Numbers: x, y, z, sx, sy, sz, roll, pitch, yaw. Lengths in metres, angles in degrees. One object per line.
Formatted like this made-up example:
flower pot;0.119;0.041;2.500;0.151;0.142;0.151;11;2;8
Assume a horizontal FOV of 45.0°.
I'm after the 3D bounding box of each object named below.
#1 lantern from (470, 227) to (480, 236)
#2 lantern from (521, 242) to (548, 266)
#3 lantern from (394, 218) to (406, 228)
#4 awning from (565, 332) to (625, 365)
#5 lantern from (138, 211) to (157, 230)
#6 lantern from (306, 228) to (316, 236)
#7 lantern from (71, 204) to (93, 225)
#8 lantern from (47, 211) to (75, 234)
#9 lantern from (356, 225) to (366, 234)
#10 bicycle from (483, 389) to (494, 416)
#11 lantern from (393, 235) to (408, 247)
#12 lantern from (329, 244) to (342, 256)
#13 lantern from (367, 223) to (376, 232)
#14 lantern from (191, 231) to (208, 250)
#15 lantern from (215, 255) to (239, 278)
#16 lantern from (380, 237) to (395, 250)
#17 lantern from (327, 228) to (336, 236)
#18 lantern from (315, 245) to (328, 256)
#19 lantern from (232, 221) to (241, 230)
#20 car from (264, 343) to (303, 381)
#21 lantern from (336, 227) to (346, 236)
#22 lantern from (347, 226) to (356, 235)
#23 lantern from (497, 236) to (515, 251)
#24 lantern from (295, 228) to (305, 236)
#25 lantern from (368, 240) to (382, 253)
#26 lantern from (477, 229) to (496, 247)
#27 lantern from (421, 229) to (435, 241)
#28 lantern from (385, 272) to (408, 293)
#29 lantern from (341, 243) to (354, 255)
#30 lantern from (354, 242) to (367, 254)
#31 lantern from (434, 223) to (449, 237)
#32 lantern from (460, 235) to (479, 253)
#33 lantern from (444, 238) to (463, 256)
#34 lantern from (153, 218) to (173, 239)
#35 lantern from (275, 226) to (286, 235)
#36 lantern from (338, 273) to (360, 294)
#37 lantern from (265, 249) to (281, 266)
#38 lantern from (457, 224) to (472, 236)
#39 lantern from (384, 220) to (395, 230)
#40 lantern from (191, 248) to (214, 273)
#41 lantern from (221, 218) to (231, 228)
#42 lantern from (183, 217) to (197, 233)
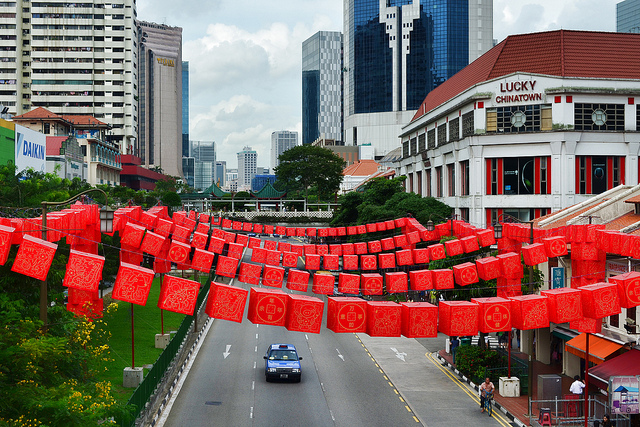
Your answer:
lantern;12.458;1.290;62.306;0.496;0.975;0.982;0;1;9
lantern;14.152;2.795;51.116;1.422;1.499;0.711;1;8;-10
lantern;7.205;0.837;69.257;1.112;1.052;0.596;-1;1;-2
awning;18.141;9.522;52.125;4.054;2.286;1.786;0;1;-44
lantern;-12.236;0.642;55.852;1.127;1.150;1.112;15;5;-36
lantern;-0.628;1.622;67.843;0.634;0.532;0.656;3;5;26
lantern;-15.523;0.132;51.137;1.128;1.153;0.613;2;4;6
lantern;-16.157;0.546;49.864;1.049;1.545;1.500;0;2;-20
lantern;3.696;1.409;67.575;0.717;0.753;0.732;1;-9;-8
bicycle;11.375;12.585;51.348;0.932;1.553;0.859;-2;10;-28
lantern;6.377;2.203;60.808;0.961;0.875;0.307;-8;-1;-28
lantern;1.227;2.749;57.254;0.879;0.895;0.305;-1;1;-10
lantern;4.550;1.223;67.231;0.659;0.690;0.676;4;-39;-8
lantern;-8.356;1.959;55.312;1.057;1.191;1.124;-3;11;-35
lantern;-5.743;3.415;48.773;1.323;1.329;0.987;1;9;-10
lantern;5.377;2.433;60.221;0.917;0.982;1.213;3;9;2
lantern;1.165;1.661;68.903;0.678;0.863;1.403;3;9;1
lantern;0.251;2.819;59.262;1.098;1.152;0.626;2;13;5
lantern;-7.020;1.083;66.702;0.705;0.568;0.690;1;-2;-37
car;-2.584;11.031;55.975;2.368;2.033;2.408;1;9;-9
lantern;1.885;1.562;67.759;0.588;0.627;0.624;-1;0;0
lantern;2.853;1.545;68.077;0.642;0.689;0.673;0;7;1
lantern;14.226;2.542;59.049;0.987;1.429;1.422;0;-1;14
lantern;-1.579;1.568;66.163;0.736;0.629;1.422;3;9;-1
lantern;4.471;2.634;60.596;0.927;0.950;0.933;-2;2;-45
lantern;12.247;1.836;57.166;1.044;1.104;0.599;-20;21;-18
lantern;8.929;1.804;63.491;1.262;1.149;0.664;-1;0;-26
lantern;4.937;4.460;49.876;1.525;1.622;1.148;-1;-2;-5
lantern;2.099;2.647;57.444;0.908;0.860;1.230;3;9;0
lantern;3.134;2.660;58.674;0.768;0.806;0.824;-1;3;-4
lantern;10.197;1.424;64.635;0.948;0.851;0.318;-9;27;-29
lantern;10.782;2.233;55.896;1.227;1.118;0.670;-16;1;-21
lantern;9.709;2.499;56.118;1.300;1.340;0.717;-12;-1;-9
lantern;-11.137;1.100;55.596;1.019;1.055;0.849;19;-21;6
lantern;-3.181;1.447;64.623;0.662;0.559;0.692;1;5;1
lantern;1.907;4.492;49.279;1.138;1.196;1.210;4;0;4
lantern;-3.105;3.039;52.916;0.908;0.961;0.891;2;1;-12
lantern;12.099;1.400;65.307;0.778;1.154;1.167;0;1;-2
lantern;6.263;0.949;68.799;0.768;0.789;0.759;0;-16;-16
lantern;-7.327;3.083;49.068;1.204;1.517;1.519;2;9;-3
lantern;-7.968;0.885;67.024;0.804;1.012;1.970;2;10;-7
lantern;-9.937;0.951;59.942;0.906;0.929;0.482;14;-36;7
